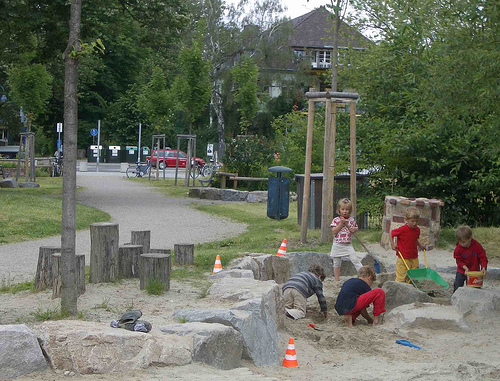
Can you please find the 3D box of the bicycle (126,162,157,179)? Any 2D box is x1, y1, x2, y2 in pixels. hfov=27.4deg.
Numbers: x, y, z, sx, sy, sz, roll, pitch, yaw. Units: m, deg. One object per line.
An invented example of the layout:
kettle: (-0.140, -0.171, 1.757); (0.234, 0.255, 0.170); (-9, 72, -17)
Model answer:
bicycle: (-5.637, -0.920, 52.210); (1.735, 1.152, 0.902); (-3, 12, -5)

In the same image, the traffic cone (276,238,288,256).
traffic cone: (0.816, 1.504, 26.819); (0.332, 0.479, 0.332); (6, -2, 17)

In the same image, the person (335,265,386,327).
person: (2.533, 2.429, 23.594); (1.132, 1.287, 0.516); (2, 0, 4)

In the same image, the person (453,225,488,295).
person: (5.200, 1.642, 24.237); (0.752, 1.560, 0.623); (2, 0, 11)

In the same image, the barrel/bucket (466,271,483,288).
barrel/bucket: (5.283, 2.093, 24.073); (0.336, 0.341, 0.358); (0, -2, 0)

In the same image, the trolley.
trolley: (4.185, 2.227, 24.766); (0.718, 0.544, 1.395); (-18, 50, -12)

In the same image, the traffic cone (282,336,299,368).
traffic cone: (0.877, 3.473, 22.010); (0.485, 0.708, 0.483); (-3, 5, -28)

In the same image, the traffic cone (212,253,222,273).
traffic cone: (-0.807, 1.823, 25.182); (0.314, 0.483, 0.347); (1, -6, -4)

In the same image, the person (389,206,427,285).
person: (3.826, 1.331, 25.071); (0.790, 1.871, 0.855); (0, 4, 3)

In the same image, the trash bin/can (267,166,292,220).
trash bin/can: (0.935, 0.100, 33.016); (0.608, 1.934, 0.711); (-3, 9, -31)

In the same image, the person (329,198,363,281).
person: (2.421, 1.267, 25.347); (0.806, 2.020, 0.640); (-1, 3, 14)

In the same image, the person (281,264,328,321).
person: (1.274, 2.377, 23.881); (1.053, 1.188, 0.694); (2, 0, -6)
